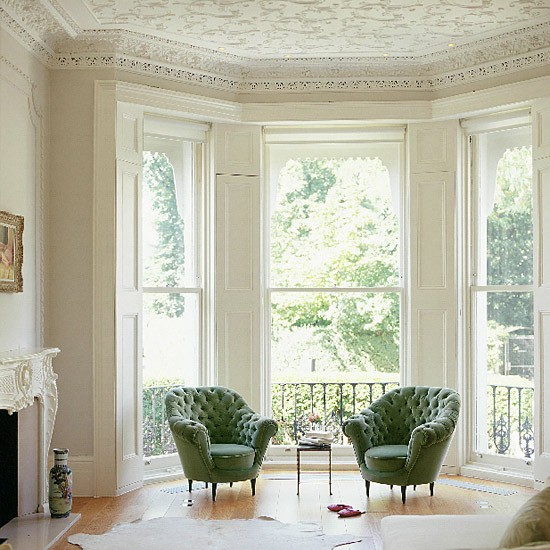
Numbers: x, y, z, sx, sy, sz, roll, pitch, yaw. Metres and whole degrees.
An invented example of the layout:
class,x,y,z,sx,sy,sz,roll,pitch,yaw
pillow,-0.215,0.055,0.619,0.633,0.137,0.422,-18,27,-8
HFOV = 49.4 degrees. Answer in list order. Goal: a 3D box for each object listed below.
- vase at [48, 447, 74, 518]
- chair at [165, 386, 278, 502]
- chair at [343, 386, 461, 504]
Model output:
class,x,y,z,sx,sy,sz,roll,pitch,yaw
vase,-1.573,1.523,4.386,0.155,0.459,0.137,2,-4,-18
chair,-0.473,1.421,5.149,0.910,0.801,0.824,6,-10,-23
chair,1.128,1.405,5.080,0.950,0.851,0.869,-8,-10,43
